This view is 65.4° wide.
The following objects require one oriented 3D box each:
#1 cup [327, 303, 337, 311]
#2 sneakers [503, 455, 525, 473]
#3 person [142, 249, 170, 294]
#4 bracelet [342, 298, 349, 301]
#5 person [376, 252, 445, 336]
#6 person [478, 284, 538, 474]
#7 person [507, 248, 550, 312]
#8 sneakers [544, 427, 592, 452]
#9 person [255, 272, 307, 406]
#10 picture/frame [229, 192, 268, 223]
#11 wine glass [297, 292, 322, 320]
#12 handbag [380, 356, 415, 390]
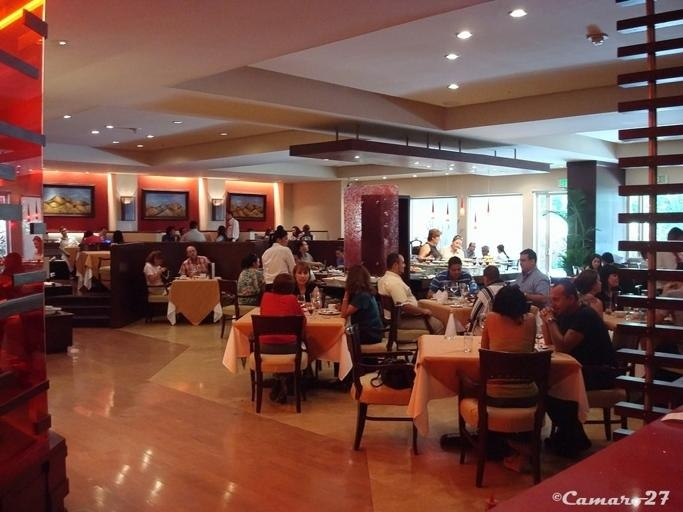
[{"bbox_3d":[-0.112,0.563,5.915,0.074,0.055,0.079,1,4,0],"label":"cup"},{"bbox_3d":[1.270,1.522,3.905,0.132,0.120,0.126,2,7,-7],"label":"sneakers"},{"bbox_3d":[-3.420,0.311,9.888,0.519,0.759,0.512,1,5,17],"label":"person"},{"bbox_3d":[0.039,0.459,5.589,0.050,0.049,0.048,1,-6,4],"label":"bracelet"},{"bbox_3d":[0.825,0.658,6.450,0.849,1.262,0.612,-1,3,-16],"label":"person"},{"bbox_3d":[1.235,0.899,3.883,0.408,1.349,0.511,0,4,11],"label":"person"},{"bbox_3d":[2.511,0.402,7.322,0.582,0.940,0.721,2,2,-15],"label":"person"},{"bbox_3d":[1.775,1.462,4.161,0.220,0.105,0.258,0,0,1],"label":"sneakers"},{"bbox_3d":[-0.587,0.785,5.211,0.429,1.196,0.586,-1,4,-8],"label":"person"},{"bbox_3d":[-3.392,-1.769,18.948,1.621,1.057,0.152,-2,6,-34],"label":"picture/frame"},{"bbox_3d":[-0.367,0.543,5.986,0.248,0.332,0.281,-4,-7,33],"label":"wine glass"},{"bbox_3d":[0.427,0.944,4.268,0.266,0.177,0.166,-4,11,-10],"label":"handbag"}]
